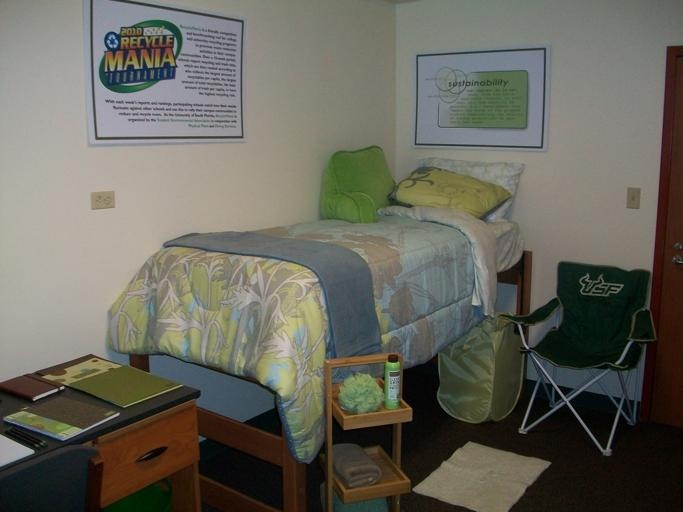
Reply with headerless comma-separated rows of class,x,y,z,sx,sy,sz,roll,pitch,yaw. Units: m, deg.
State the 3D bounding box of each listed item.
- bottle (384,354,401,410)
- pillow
bottle,0.248,0.584,2.501,0.096,0.257,0.092,0,13,0
pillow,0.348,-0.542,3.973,0.773,0.451,0.956,13,12,36
